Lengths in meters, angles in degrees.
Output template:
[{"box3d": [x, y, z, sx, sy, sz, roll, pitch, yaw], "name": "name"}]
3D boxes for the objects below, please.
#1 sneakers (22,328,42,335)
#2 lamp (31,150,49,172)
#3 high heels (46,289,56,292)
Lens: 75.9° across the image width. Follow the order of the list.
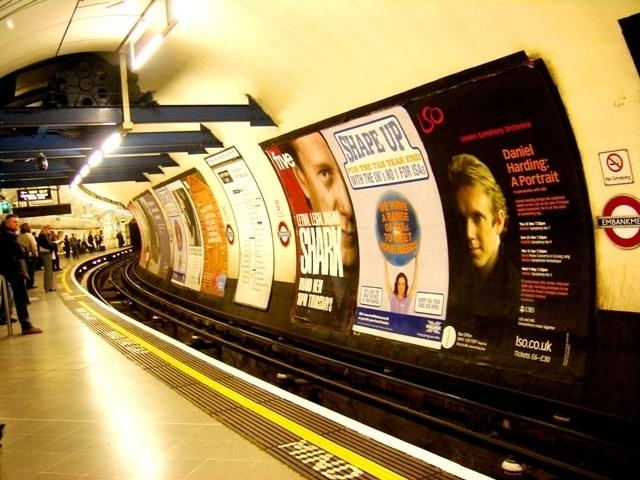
[{"box3d": [-5.943, 1.923, 8.530, 0.339, 0.126, 0.146, -1, 0, -16], "name": "sneakers"}, {"box3d": [-7.613, -2.136, 11.180, 0.386, 0.309, 0.959, -24, 36, -8], "name": "lamp"}, {"box3d": [-9.820, 1.892, 15.039, 0.322, 0.121, 0.104, -7, 6, -30], "name": "high heels"}]
